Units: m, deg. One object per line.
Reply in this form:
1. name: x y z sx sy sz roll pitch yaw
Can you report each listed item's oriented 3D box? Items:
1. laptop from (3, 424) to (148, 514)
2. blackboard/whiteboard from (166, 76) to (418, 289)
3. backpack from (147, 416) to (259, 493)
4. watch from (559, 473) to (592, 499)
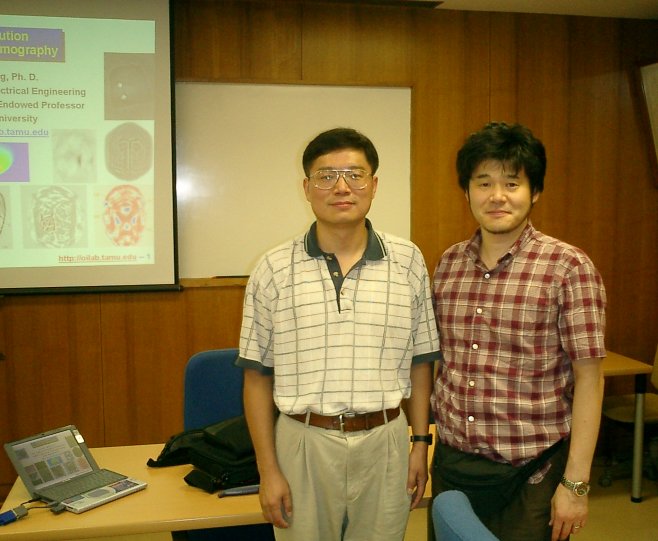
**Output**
1. laptop: -0.956 0.648 2.143 0.361 0.162 0.300 13 12 35
2. blackboard/whiteboard: -0.333 -0.536 3.299 1.337 1.127 0.028 0 1 -9
3. backpack: -0.478 0.659 2.176 0.332 0.105 0.263 -6 12 -34
4. watch: 0.825 0.727 1.944 0.064 0.039 0.067 3 0 -1
